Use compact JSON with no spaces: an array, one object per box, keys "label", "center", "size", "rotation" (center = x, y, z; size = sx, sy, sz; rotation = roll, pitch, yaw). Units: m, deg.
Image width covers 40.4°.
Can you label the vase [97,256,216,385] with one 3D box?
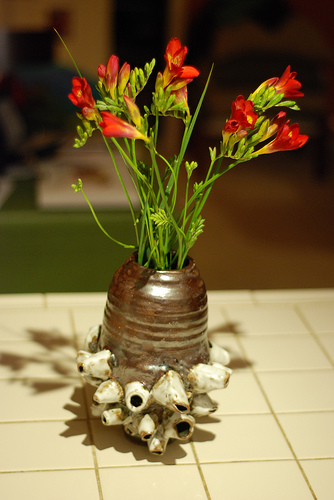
[{"label":"vase","center":[-0.014,0.090,0.620],"size":[0.152,0.132,0.153],"rotation":[9,12,41]}]
